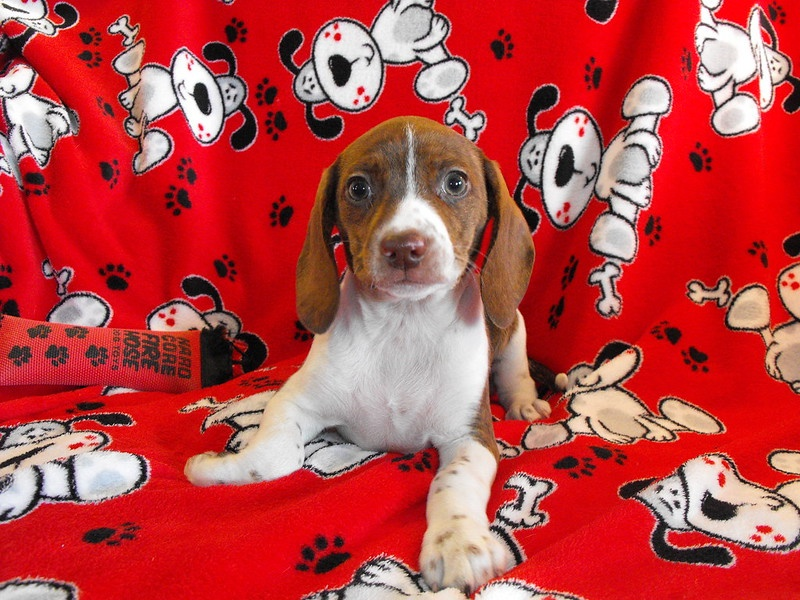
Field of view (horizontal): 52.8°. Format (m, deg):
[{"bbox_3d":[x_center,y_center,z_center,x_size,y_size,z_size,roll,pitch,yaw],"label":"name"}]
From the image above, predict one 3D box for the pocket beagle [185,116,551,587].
[{"bbox_3d":[-0.035,0.060,3.119,1.030,1.505,0.971,3,11,11],"label":"pocket beagle"}]
